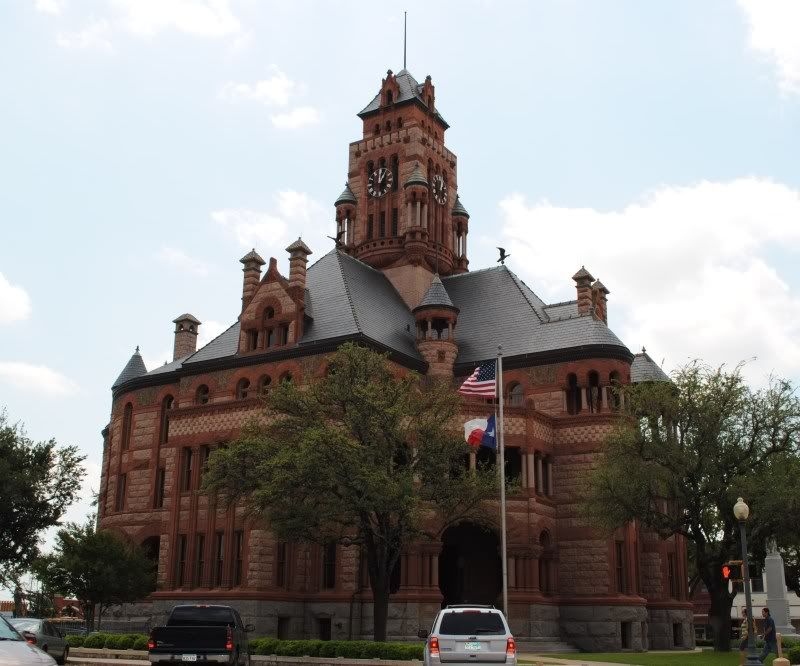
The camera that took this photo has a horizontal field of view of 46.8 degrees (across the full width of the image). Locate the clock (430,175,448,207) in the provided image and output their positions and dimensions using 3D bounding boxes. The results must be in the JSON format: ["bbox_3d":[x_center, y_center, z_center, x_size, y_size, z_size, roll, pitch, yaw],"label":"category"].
[{"bbox_3d":[2.634,-10.041,65.440,0.157,1.945,1.954,-13,-65,27],"label":"clock"}]

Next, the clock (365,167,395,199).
[{"bbox_3d":[-1.355,-10.407,64.576,2.330,2.329,0.160,-8,-16,38],"label":"clock"}]

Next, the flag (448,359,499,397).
[{"bbox_3d":[3.587,2.199,45.527,2.551,2.820,0.361,0,-34,18],"label":"flag"}]

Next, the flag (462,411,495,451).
[{"bbox_3d":[3.433,4.215,39.891,1.403,1.401,1.399,-2,-21,4],"label":"flag"}]
